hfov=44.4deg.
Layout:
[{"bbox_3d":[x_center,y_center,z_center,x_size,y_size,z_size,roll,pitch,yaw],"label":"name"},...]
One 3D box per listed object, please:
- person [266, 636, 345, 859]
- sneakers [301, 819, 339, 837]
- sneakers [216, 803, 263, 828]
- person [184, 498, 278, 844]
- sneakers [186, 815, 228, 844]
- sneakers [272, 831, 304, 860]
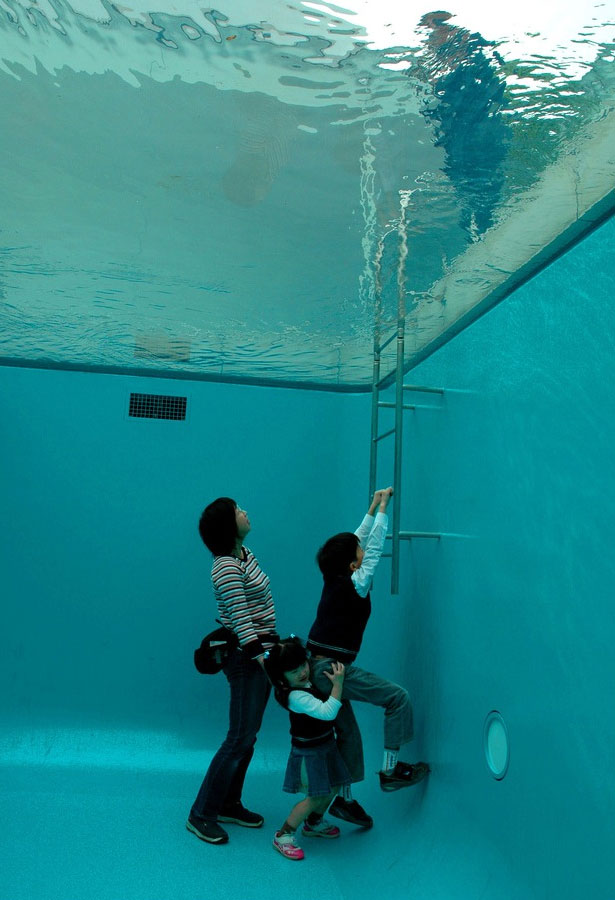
[{"bbox_3d":[-0.007,1.373,3.362,0.329,1.154,0.406,1,19,2],"label":"person"},{"bbox_3d":[0.068,1.784,3.575,0.193,0.079,0.067,0,-12,0],"label":"sneakers"},{"bbox_3d":[-0.322,1.790,3.682,0.263,0.103,0.085,3,-9,6],"label":"sneakers"},{"bbox_3d":[-0.353,1.114,3.490,0.425,1.791,0.575,2,19,4],"label":"person"},{"bbox_3d":[-0.453,1.738,3.466,0.093,0.096,0.241,25,-29,-39],"label":"sneakers"},{"bbox_3d":[-0.081,1.760,3.331,0.062,0.067,0.157,22,-25,-33],"label":"sneakers"}]
